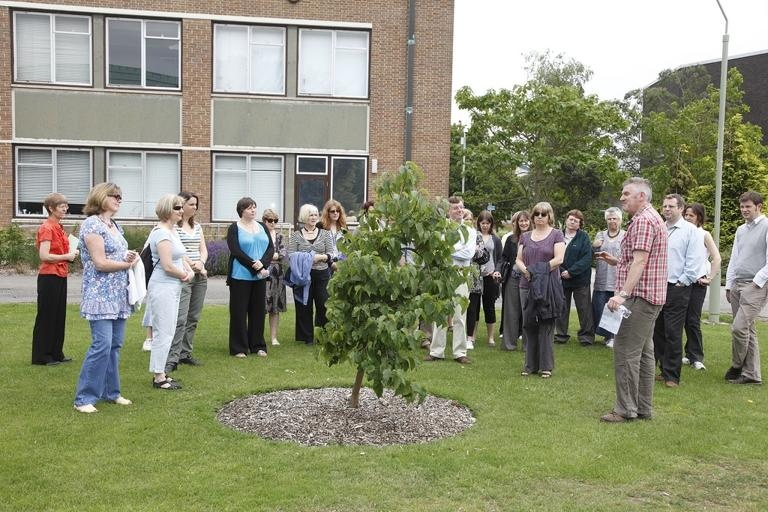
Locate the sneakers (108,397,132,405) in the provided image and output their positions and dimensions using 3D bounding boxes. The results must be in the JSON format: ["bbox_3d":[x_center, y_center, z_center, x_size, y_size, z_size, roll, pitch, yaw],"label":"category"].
[{"bbox_3d":[-4.484,2.495,15.344,0.396,0.178,0.144,0,5,3],"label":"sneakers"}]

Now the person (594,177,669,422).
[{"bbox_3d":[4.287,0.736,15.261,0.970,4.181,0.577,1,2,6],"label":"person"}]

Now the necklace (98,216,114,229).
[{"bbox_3d":[-4.702,-0.569,15.193,0.051,0.230,0.183,-49,-12,32],"label":"necklace"}]

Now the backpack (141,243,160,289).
[{"bbox_3d":[-4.393,0.145,16.649,0.181,0.780,1.188,1,2,-15],"label":"backpack"}]

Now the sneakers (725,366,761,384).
[{"bbox_3d":[6.780,2.283,16.922,0.668,0.284,0.253,11,9,13],"label":"sneakers"}]

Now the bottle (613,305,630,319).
[{"bbox_3d":[4.018,0.957,15.145,0.290,0.245,0.208,2,2,9],"label":"bottle"}]

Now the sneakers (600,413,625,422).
[{"bbox_3d":[3.908,2.770,15.292,0.318,0.136,0.164,0,3,11],"label":"sneakers"}]

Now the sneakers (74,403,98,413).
[{"bbox_3d":[-4.984,2.565,15.056,0.271,0.111,0.166,1,4,17],"label":"sneakers"}]

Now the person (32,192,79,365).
[{"bbox_3d":[-6.223,0.420,16.884,0.723,3.205,0.524,1,2,-18],"label":"person"}]

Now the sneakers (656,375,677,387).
[{"bbox_3d":[5.267,2.353,16.841,0.138,0.184,0.421,-25,-4,-26],"label":"sneakers"}]

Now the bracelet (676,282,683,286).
[{"bbox_3d":[5.557,0.523,16.865,0.074,0.056,0.075,0,6,4],"label":"bracelet"}]

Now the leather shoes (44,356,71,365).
[{"bbox_3d":[-6.126,1.981,16.911,0.429,0.184,0.142,3,-2,-19],"label":"leather shoes"}]

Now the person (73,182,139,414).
[{"bbox_3d":[-4.718,0.689,15.168,0.917,3.865,0.412,1,2,-21],"label":"person"}]

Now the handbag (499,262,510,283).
[{"bbox_3d":[2.518,0.321,18.696,0.140,0.360,0.297,7,3,20],"label":"handbag"}]
